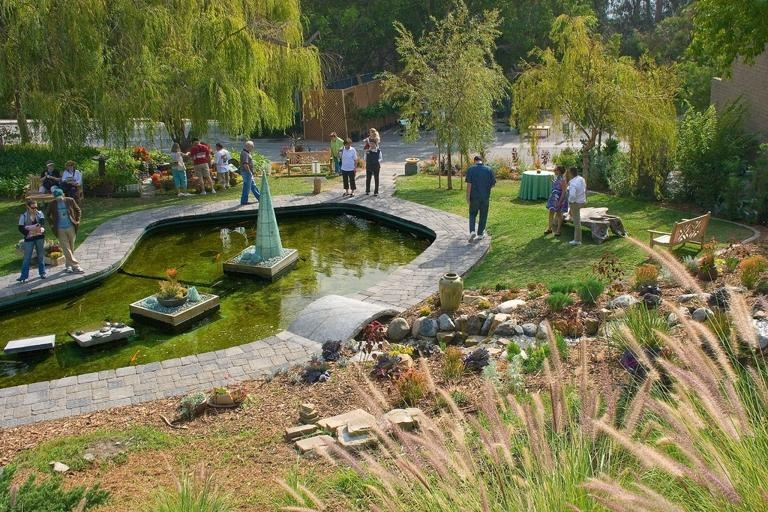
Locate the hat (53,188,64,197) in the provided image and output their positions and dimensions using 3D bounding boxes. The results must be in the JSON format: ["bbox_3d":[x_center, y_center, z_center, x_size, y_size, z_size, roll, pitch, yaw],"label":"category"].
[{"bbox_3d":[-7.703,-1.491,14.646,0.202,0.189,0.403,-11,17,-30],"label":"hat"}]

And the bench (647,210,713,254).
[{"bbox_3d":[7.052,-0.510,14.746,1.583,0.988,0.613,-12,19,-34],"label":"bench"}]

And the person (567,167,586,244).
[{"bbox_3d":[4.970,-1.344,15.984,0.395,1.955,0.814,1,14,17],"label":"person"}]

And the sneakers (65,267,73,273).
[{"bbox_3d":[-7.660,0.335,15.072,0.102,0.086,0.160,-9,-6,-45],"label":"sneakers"}]

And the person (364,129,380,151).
[{"bbox_3d":[-0.421,-4.095,21.634,0.453,0.704,1.681,-3,14,-3],"label":"person"}]

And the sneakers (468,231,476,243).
[{"bbox_3d":[2.401,-0.502,16.674,0.140,0.358,0.166,8,47,-11],"label":"sneakers"}]

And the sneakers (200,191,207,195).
[{"bbox_3d":[-6.572,-2.316,22.615,0.116,0.135,0.291,-11,22,-31],"label":"sneakers"}]

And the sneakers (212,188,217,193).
[{"bbox_3d":[-6.261,-2.391,22.865,0.127,0.164,0.143,-2,2,-8],"label":"sneakers"}]

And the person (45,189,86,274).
[{"bbox_3d":[-7.665,-0.632,14.994,0.639,2.039,0.671,-10,15,-28],"label":"person"}]

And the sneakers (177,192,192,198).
[{"bbox_3d":[-7.201,-2.205,22.368,0.490,0.236,0.220,1,15,22],"label":"sneakers"}]

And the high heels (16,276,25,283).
[{"bbox_3d":[-8.528,0.538,14.554,0.130,0.122,0.249,0,4,-10],"label":"high heels"}]

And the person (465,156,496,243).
[{"bbox_3d":[2.544,-1.516,16.322,0.658,2.262,0.640,-1,13,9],"label":"person"}]

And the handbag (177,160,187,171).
[{"bbox_3d":[-7.331,-3.274,22.284,0.291,0.372,0.294,8,29,16],"label":"handbag"}]

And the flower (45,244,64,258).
[{"bbox_3d":[-8.416,-0.118,15.814,0.310,0.201,0.410,-3,41,-49],"label":"flower"}]

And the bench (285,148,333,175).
[{"bbox_3d":[-3.189,-4.010,26.468,1.877,0.909,2.524,-5,15,-7],"label":"bench"}]

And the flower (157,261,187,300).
[{"bbox_3d":[-4.625,0.635,13.539,0.574,0.700,0.495,-12,11,-38],"label":"flower"}]

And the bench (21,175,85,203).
[{"bbox_3d":[-10.209,-2.076,19.116,1.262,0.828,0.577,2,28,-11],"label":"bench"}]

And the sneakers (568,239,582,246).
[{"bbox_3d":[4.896,-0.347,15.829,0.298,0.151,0.113,8,16,28],"label":"sneakers"}]

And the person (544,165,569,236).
[{"bbox_3d":[4.692,-1.568,16.855,0.541,1.902,1.474,1,14,16],"label":"person"}]

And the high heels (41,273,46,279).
[{"bbox_3d":[-8.124,0.476,14.797,0.143,0.108,0.089,-15,13,36],"label":"high heels"}]
